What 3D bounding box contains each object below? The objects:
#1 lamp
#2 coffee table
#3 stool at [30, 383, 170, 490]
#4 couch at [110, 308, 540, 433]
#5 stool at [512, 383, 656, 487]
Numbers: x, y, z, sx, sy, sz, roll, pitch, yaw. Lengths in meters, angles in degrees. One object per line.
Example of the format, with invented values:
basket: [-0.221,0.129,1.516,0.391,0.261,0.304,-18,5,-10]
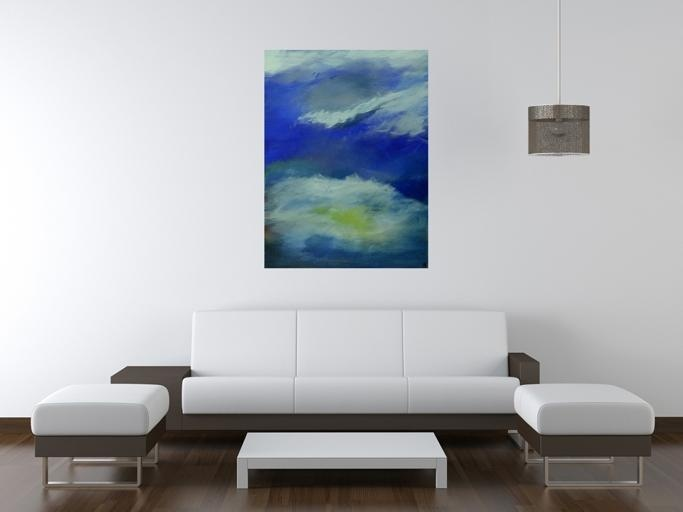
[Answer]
lamp: [1.844,-1.551,5.505,0.464,1.409,1.215,3,9,18]
coffee table: [0.006,1.519,4.936,1.507,0.256,0.480,0,8,-1]
stool: [-1.585,1.462,5.311,0.997,0.546,1.323,-6,-14,17]
couch: [-0.108,0.957,5.692,3.592,0.793,0.847,0,4,-5]
stool: [1.808,1.173,4.972,0.829,0.462,1.121,-1,-3,5]
